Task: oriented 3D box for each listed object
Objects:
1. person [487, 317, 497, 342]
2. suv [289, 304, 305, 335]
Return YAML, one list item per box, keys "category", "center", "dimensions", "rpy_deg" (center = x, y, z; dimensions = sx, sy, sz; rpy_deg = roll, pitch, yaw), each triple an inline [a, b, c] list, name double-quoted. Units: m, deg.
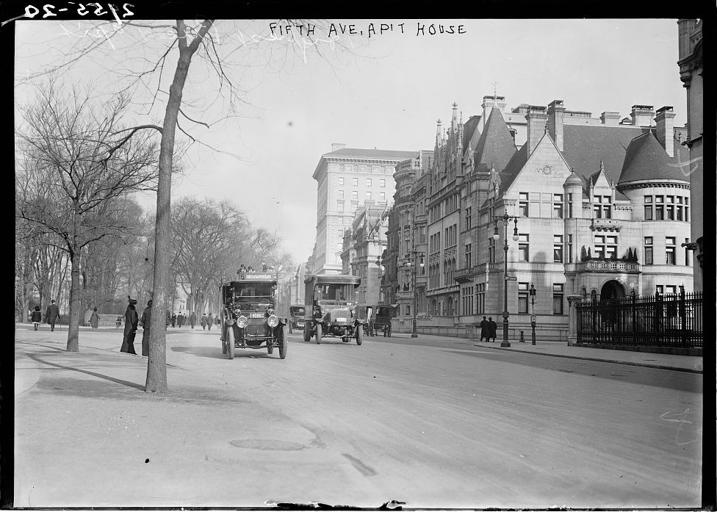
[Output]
- category: "person"
  center: [8.381, 4.757, 54.529]
  dimensions: [0.503, 1.373, 1.178]
  rpy_deg: [1, -7, 0]
- category: "suv"
  center: [-4.919, 4.893, 67.889]
  dimensions: [1.399, 1.614, 2.626]
  rpy_deg: [2, -9, -19]
